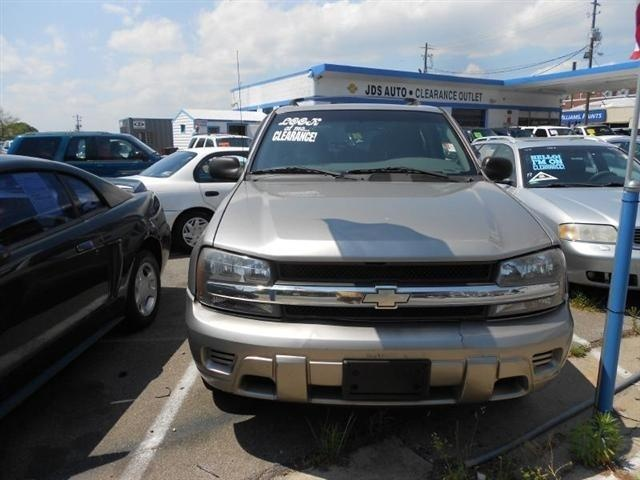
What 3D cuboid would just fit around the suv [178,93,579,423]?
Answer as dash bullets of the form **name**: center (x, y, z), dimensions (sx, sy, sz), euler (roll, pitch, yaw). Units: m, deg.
- **suv**: center (0.326, -0.098, 3.444), dimensions (1.948, 1.231, 2.867), euler (0, 9, 0)
